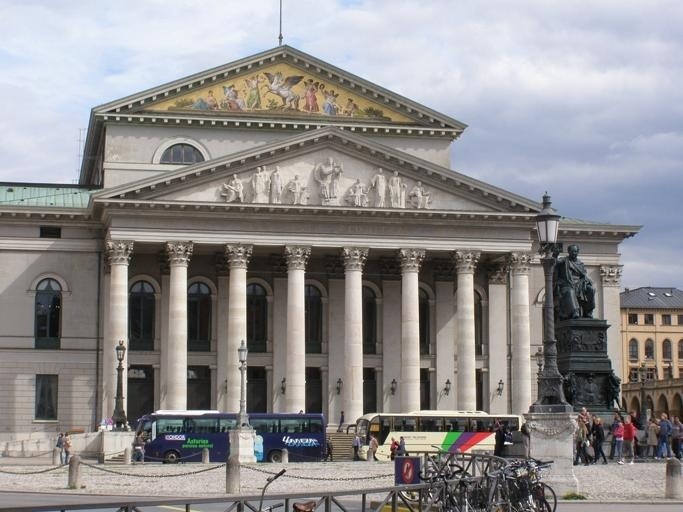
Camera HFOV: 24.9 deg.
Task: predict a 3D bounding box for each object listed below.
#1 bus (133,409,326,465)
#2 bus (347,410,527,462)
[{"bbox_3d":[-6.038,10.357,90.662,13.845,3.490,3.677,2,-12,-8],"label":"bus"},{"bbox_3d":[5.754,10.932,94.109,11.440,2.750,2.841,4,-7,-28],"label":"bus"}]
